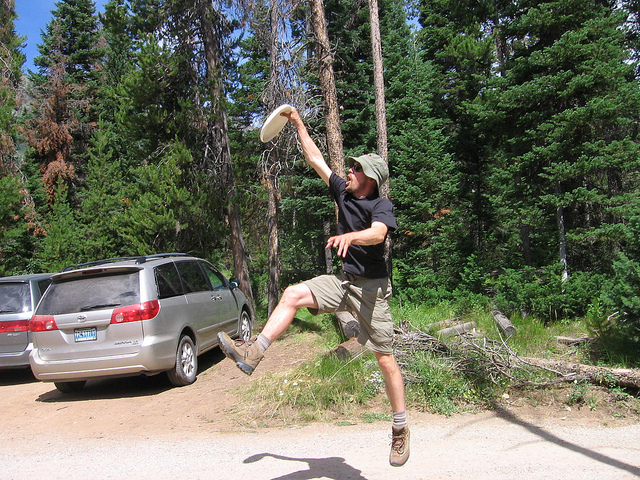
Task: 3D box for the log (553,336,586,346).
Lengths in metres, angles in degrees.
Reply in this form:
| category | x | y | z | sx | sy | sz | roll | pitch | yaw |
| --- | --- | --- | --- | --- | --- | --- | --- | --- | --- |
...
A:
| category | x | y | z | sx | sy | sz | roll | pitch | yaw |
| --- | --- | --- | --- | --- | --- | --- | --- | --- | --- |
| log | 4.633 | 1.857 | 9.437 | 0.123 | 0.107 | 0.483 | 43 | -23 | -30 |

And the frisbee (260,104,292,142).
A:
| category | x | y | z | sx | sy | sz | roll | pitch | yaw |
| --- | --- | --- | --- | --- | --- | --- | --- | --- | --- |
| frisbee | -0.618 | -1.522 | 6.515 | 0.458 | 0.092 | 0.449 | -24 | -26 | -44 |

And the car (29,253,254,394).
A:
| category | x | y | z | sx | sy | sz | roll | pitch | yaw |
| --- | --- | --- | --- | --- | --- | --- | --- | --- | --- |
| car | -3.052 | 1.343 | 10.058 | 2.259 | 1.804 | 4.407 | -4 | 3 | 19 |

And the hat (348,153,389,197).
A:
| category | x | y | z | sx | sy | sz | roll | pitch | yaw |
| --- | --- | --- | --- | --- | --- | --- | --- | --- | --- |
| hat | 0.578 | -0.771 | 6.011 | 0.476 | 0.497 | 0.285 | -3 | 4 | -2 |
